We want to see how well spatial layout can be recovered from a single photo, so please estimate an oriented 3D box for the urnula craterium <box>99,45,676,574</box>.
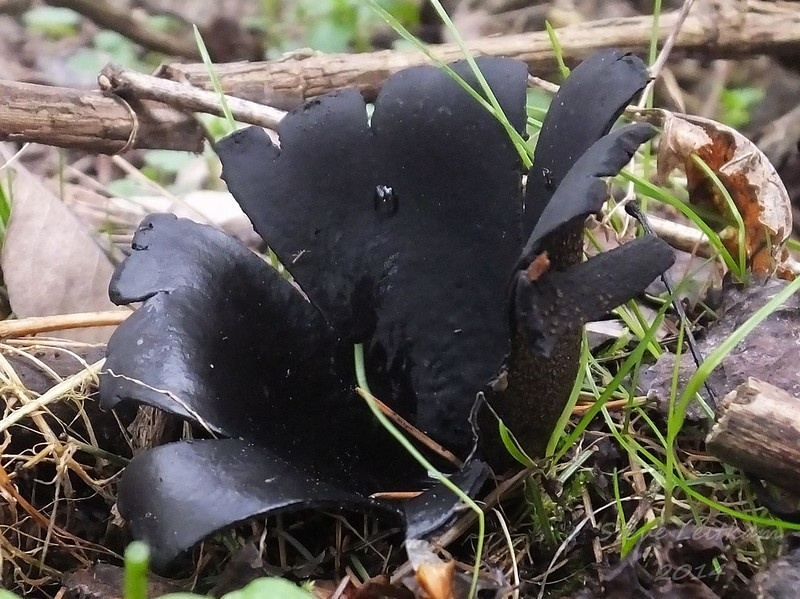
[{"bbox_3d":[0.024,0.035,1.581,0.896,0.396,0.829,-6,69,28],"label":"urnula craterium"}]
